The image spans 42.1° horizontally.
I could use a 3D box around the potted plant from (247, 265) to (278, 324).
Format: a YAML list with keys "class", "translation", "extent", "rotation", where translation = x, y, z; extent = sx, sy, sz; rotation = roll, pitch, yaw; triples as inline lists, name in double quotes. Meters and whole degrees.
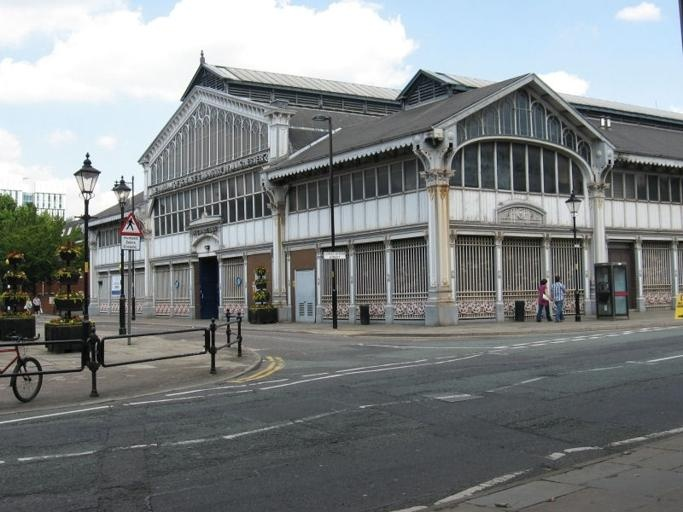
- class: "potted plant"
  translation: [-3.855, 1.949, 43.950]
  extent: [0.964, 3.103, 1.221]
  rotation: [-1, -3, -40]
